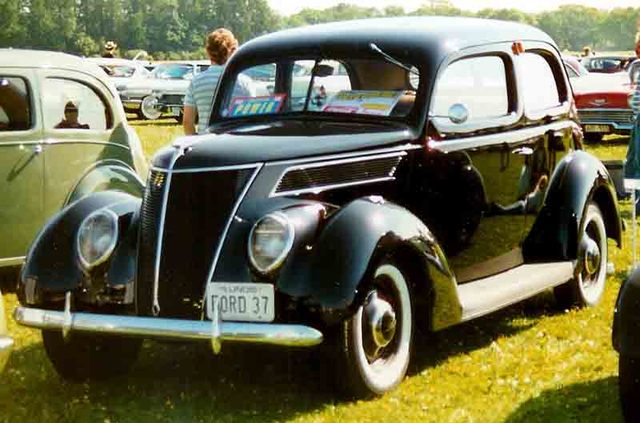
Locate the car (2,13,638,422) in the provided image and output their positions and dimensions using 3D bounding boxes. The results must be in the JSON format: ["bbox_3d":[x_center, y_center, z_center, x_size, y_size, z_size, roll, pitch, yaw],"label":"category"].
[{"bbox_3d":[0.192,-0.196,4.506,4.628,2.577,1.857,-9,15,-32],"label":"car"}]
